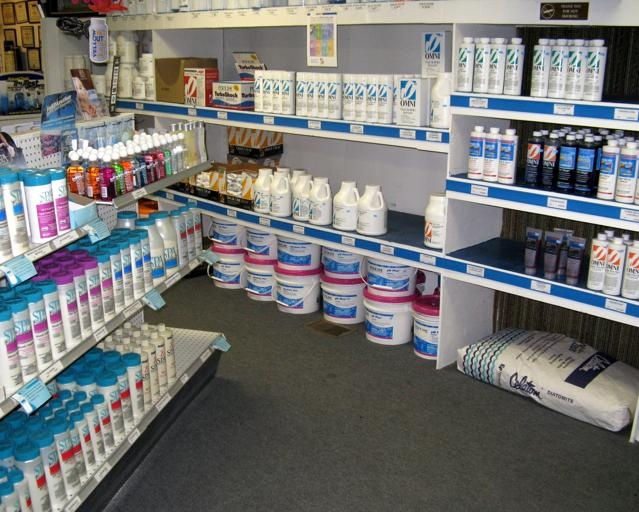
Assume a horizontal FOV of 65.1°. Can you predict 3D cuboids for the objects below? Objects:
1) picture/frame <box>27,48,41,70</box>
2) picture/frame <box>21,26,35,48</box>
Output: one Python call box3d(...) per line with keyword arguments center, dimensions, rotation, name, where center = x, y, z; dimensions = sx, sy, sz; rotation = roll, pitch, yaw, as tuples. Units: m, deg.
box3d(center=(-3.685, -2.532, 6.461), dimensions=(0.212, 0.270, 0.104), rotation=(10, 26, 23), name="picture/frame")
box3d(center=(-3.743, -2.819, 6.439), dimensions=(0.264, 0.282, 0.024), rotation=(12, 21, 22), name="picture/frame")
